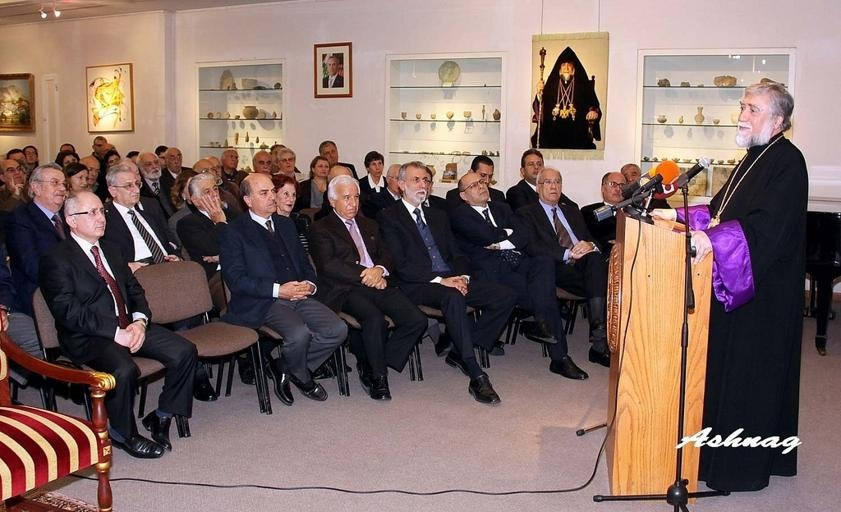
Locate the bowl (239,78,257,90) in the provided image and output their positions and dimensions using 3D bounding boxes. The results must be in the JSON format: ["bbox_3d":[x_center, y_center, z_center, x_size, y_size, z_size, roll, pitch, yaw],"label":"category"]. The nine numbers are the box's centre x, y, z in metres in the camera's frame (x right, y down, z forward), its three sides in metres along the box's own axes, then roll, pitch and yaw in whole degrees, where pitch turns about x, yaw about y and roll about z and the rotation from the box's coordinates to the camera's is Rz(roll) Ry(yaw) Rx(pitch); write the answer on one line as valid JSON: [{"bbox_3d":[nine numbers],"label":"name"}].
[{"bbox_3d":[-2.640,-2.605,9.717,0.269,0.171,0.057,5,9,21],"label":"bowl"}]

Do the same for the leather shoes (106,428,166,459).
[{"bbox_3d":[-1.953,1.249,4.309,0.452,0.131,0.159,12,18,9],"label":"leather shoes"}]

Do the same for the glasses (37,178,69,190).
[{"bbox_3d":[-2.958,-0.593,5.121,0.145,0.091,0.113,-2,-6,30],"label":"glasses"}]

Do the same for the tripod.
[{"bbox_3d":[1.374,0.545,3.715,0.628,1.904,0.453,5,9,22],"label":"tripod"}]

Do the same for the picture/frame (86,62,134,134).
[{"bbox_3d":[-5.079,-2.608,10.487,1.206,1.333,0.144,3,5,32],"label":"picture/frame"}]

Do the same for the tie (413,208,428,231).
[{"bbox_3d":[-0.010,-0.335,5.748,0.113,0.179,0.043,-14,1,-31],"label":"tie"}]

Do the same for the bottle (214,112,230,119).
[{"bbox_3d":[-3.099,-2.183,9.965,0.185,0.109,0.086,5,4,21],"label":"bottle"}]

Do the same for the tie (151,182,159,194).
[{"bbox_3d":[-3.211,-0.824,7.746,0.066,0.116,0.029,-2,-9,-43],"label":"tie"}]

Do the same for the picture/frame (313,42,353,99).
[{"bbox_3d":[-1.260,-2.698,9.237,0.831,0.933,0.069,2,4,20],"label":"picture/frame"}]

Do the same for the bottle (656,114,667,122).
[{"bbox_3d":[3.038,-1.729,8.112,0.109,0.083,0.100,-2,4,0],"label":"bottle"}]

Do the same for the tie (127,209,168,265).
[{"bbox_3d":[-2.392,-0.152,5.550,0.106,0.515,0.131,-36,-8,-6],"label":"tie"}]

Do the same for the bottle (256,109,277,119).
[{"bbox_3d":[-2.328,-2.128,9.678,0.234,0.116,0.170,2,6,3],"label":"bottle"}]

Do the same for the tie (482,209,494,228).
[{"bbox_3d":[0.632,-0.369,6.102,0.059,0.221,0.035,-30,-43,19],"label":"tie"}]

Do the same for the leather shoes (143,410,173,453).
[{"bbox_3d":[-1.796,1.193,4.368,0.331,0.149,0.112,38,18,27],"label":"leather shoes"}]

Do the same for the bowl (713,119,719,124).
[{"bbox_3d":[3.644,-1.664,7.938,0.067,0.044,0.069,-1,-3,0],"label":"bowl"}]

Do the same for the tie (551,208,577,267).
[{"bbox_3d":[1.403,-0.256,6.241,0.093,0.197,0.730,51,-1,40],"label":"tie"}]

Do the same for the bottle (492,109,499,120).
[{"bbox_3d":[1.001,-1.890,8.600,0.136,0.152,0.034,9,11,42],"label":"bottle"}]

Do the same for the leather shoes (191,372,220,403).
[{"bbox_3d":[-1.705,1.015,5.038,0.319,0.121,0.127,17,16,38],"label":"leather shoes"}]

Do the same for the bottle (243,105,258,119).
[{"bbox_3d":[-2.599,-2.187,9.755,0.205,0.151,0.210,0,15,0],"label":"bottle"}]
